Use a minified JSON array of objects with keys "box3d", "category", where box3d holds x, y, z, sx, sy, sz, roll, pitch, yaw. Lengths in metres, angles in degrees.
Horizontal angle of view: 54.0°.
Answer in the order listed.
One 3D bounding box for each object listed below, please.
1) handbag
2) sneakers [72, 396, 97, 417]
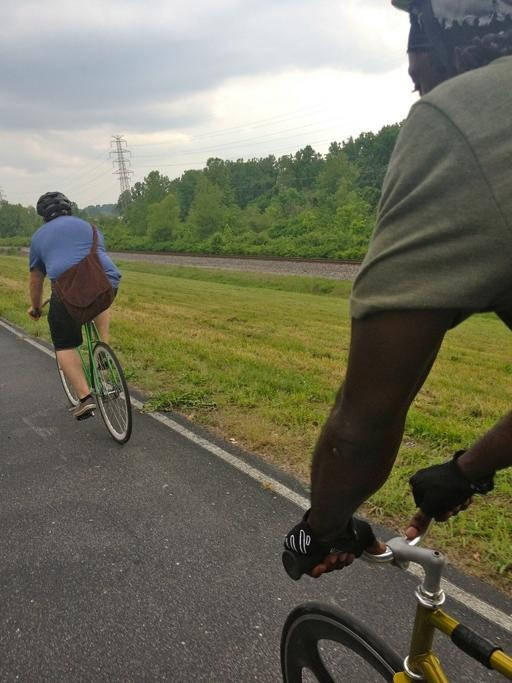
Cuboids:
[{"box3d":[-1.525,-0.471,4.566,0.511,0.632,0.321,-13,18,-43],"category":"handbag"},{"box3d":[-1.578,0.603,4.623,0.126,0.142,0.313,1,-10,-38],"category":"sneakers"}]
